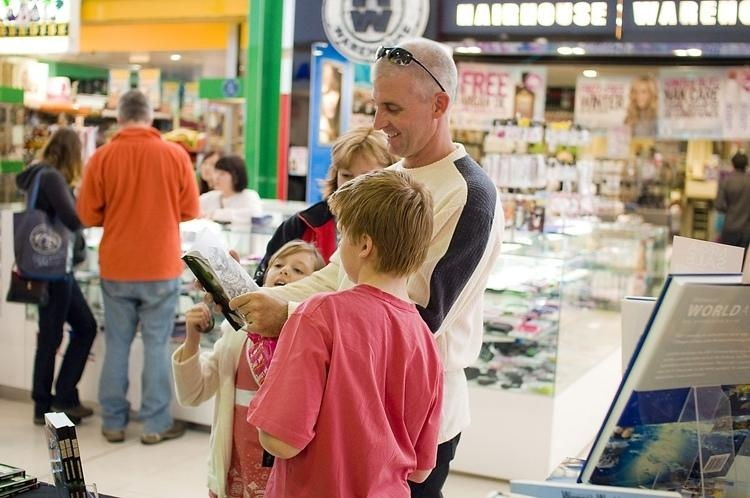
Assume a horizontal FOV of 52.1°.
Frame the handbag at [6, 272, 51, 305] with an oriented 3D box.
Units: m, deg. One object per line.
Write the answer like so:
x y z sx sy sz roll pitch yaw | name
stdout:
-2.567 0.288 5.721 0.228 0.224 0.092 7 0 7 | handbag

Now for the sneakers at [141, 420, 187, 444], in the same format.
-1.597 1.381 5.815 0.114 0.139 0.319 6 10 32 | sneakers

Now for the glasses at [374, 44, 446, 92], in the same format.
0.143 -0.821 3.349 0.232 0.066 0.215 30 -1 -37 | glasses

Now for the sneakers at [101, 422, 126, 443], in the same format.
-1.954 1.383 5.806 0.086 0.180 0.181 2 -1 -37 | sneakers
